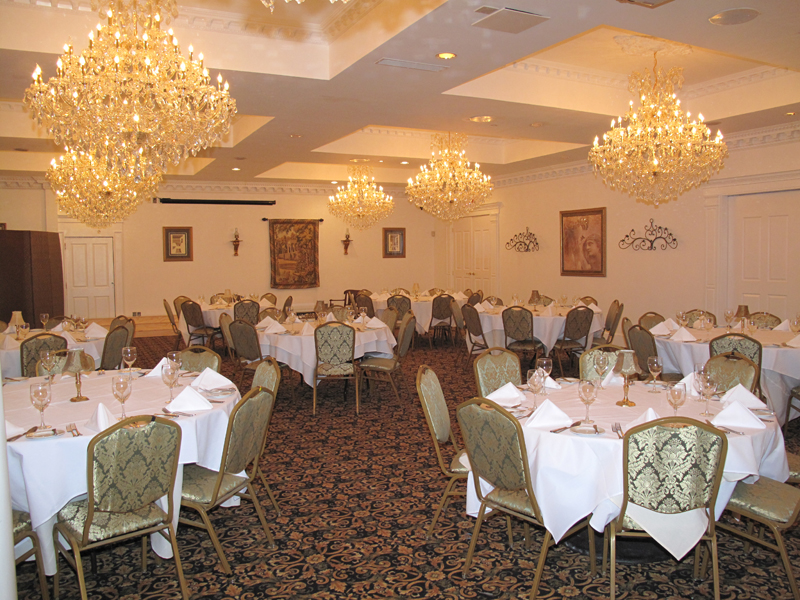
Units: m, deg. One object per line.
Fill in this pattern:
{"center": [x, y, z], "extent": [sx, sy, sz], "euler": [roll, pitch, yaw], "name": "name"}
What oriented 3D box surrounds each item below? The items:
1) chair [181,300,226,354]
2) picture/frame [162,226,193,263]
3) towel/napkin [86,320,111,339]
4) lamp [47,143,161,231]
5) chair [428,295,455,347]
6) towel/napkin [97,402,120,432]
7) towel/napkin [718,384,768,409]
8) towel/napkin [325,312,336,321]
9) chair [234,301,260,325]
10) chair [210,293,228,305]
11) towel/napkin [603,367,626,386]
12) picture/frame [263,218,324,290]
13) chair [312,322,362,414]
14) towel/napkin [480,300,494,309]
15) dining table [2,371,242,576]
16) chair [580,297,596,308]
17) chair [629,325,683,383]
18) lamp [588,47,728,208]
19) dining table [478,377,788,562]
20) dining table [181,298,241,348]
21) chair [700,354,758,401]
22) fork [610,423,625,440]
{"center": [-3.577, 0.425, 10.378], "extent": [0.615, 0.842, 0.595], "euler": [-4, 5, -42], "name": "chair"}
{"center": [-5.498, -1.391, 14.139], "extent": [0.811, 1.106, 0.077], "euler": [-1, 4, -31], "name": "picture/frame"}
{"center": [-3.707, 0.383, 7.021], "extent": [0.246, 0.125, 0.332], "euler": [1, 5, -28], "name": "towel/napkin"}
{"center": [-4.214, -1.592, 8.137], "extent": [1.419, 1.079, 1.504], "euler": [0, 1, -12], "name": "lamp"}
{"center": [0.815, 0.377, 11.498], "extent": [0.477, 0.990, 1.542], "euler": [-1, 3, 3], "name": "chair"}
{"center": [-1.725, 0.702, 3.405], "extent": [0.102, 0.125, 0.109], "euler": [-15, 11, -29], "name": "towel/napkin"}
{"center": [2.245, 0.644, 3.745], "extent": [0.193, 0.097, 0.269], "euler": [1, 1, -8], "name": "towel/napkin"}
{"center": [-1.024, 0.260, 8.527], "extent": [0.159, 0.103, 0.151], "euler": [8, 45, -17], "name": "towel/napkin"}
{"center": [-2.493, 0.220, 9.431], "extent": [0.318, 0.608, 0.400], "euler": [0, 4, -4], "name": "chair"}
{"center": [-3.619, -0.011, 11.471], "extent": [0.303, 0.254, 0.323], "euler": [1, -4, 4], "name": "chair"}
{"center": [1.625, 0.585, 4.357], "extent": [0.124, 0.141, 0.038], "euler": [7, -4, 9], "name": "towel/napkin"}
{"center": [-2.877, -1.240, 15.218], "extent": [1.691, 2.227, 0.209], "euler": [-1, 1, -28], "name": "picture/frame"}
{"center": [-0.763, 0.797, 6.915], "extent": [0.555, 1.077, 0.565], "euler": [-2, 4, -7], "name": "chair"}
{"center": [1.563, 0.073, 10.030], "extent": [0.219, 0.062, 0.231], "euler": [-5, 10, -35], "name": "towel/napkin"}
{"center": [-1.944, 0.891, 3.928], "extent": [1.323, 0.777, 1.365], "euler": [-1, 3, -21], "name": "dining table"}
{"center": [3.274, 0.039, 9.953], "extent": [0.175, 0.254, 0.217], "euler": [1, -2, 5], "name": "chair"}
{"center": [2.598, 0.547, 5.792], "extent": [0.376, 0.734, 0.374], "euler": [-9, 15, -11], "name": "chair"}
{"center": [3.219, -2.094, 7.109], "extent": [1.410, 1.862, 1.607], "euler": [1, 4, 31], "name": "lamp"}
{"center": [1.130, 0.941, 3.501], "extent": [1.182, 0.388, 1.330], "euler": [-5, 5, -16], "name": "dining table"}
{"center": [-3.225, 0.372, 9.795], "extent": [0.656, 1.241, 0.795], "euler": [5, 11, 22], "name": "dining table"}
{"center": [2.472, 0.593, 4.301], "extent": [0.278, 0.484, 0.255], "euler": [11, -3, -37], "name": "chair"}
{"center": [1.276, 0.770, 3.346], "extent": [0.032, 0.018, 0.117], "euler": [-8, 39, 7], "name": "fork"}
